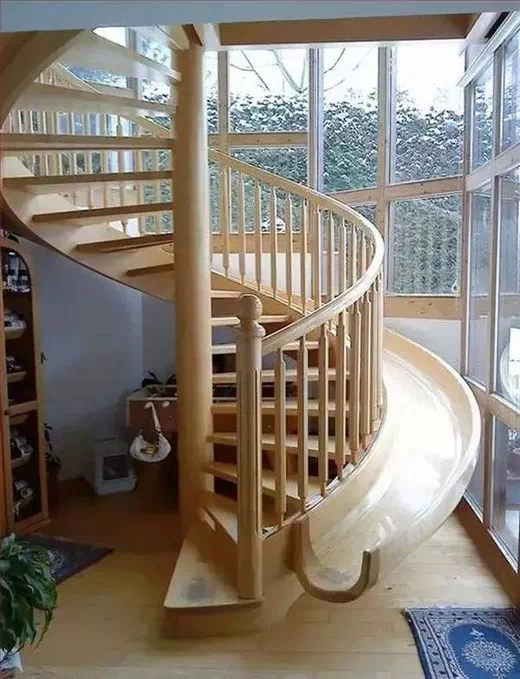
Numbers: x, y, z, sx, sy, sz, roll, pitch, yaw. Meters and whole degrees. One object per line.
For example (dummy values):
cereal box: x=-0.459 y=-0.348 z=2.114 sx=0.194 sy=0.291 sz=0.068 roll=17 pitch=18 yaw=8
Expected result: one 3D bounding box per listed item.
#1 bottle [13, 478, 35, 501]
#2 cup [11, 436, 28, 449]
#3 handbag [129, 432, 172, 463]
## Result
bottle: x=-1.562 y=0.981 z=3.637 sx=0.101 sy=0.127 sz=0.155 roll=1 pitch=6 yaw=12
cup: x=-1.574 y=0.671 z=3.652 sx=0.052 sy=0.044 sz=0.069 roll=2 pitch=0 yaw=1
handbag: x=-0.722 y=0.729 z=3.676 sx=0.255 sy=0.178 sz=0.103 roll=3 pitch=-17 yaw=-19
